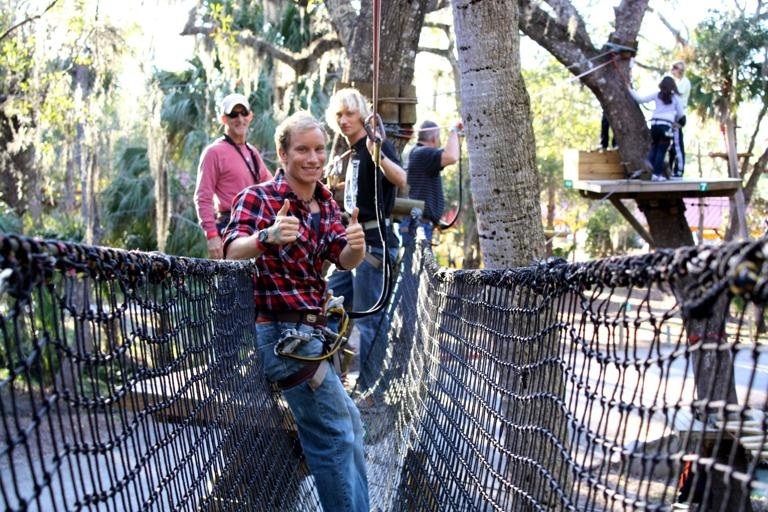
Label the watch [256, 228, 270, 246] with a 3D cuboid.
[{"bbox_3d":[-0.714,-0.118,4.692,0.057,0.106,0.085,7,-4,-20],"label":"watch"}]

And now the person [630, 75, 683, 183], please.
[{"bbox_3d":[3.315,-1.575,9.614,0.401,1.407,0.880,-2,-5,37],"label":"person"}]

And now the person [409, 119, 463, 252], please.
[{"bbox_3d":[0.530,-0.924,8.660,0.566,1.539,1.666,1,-4,3],"label":"person"}]
